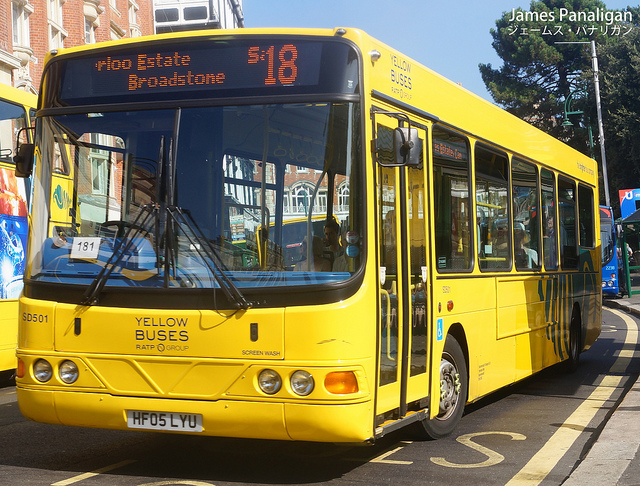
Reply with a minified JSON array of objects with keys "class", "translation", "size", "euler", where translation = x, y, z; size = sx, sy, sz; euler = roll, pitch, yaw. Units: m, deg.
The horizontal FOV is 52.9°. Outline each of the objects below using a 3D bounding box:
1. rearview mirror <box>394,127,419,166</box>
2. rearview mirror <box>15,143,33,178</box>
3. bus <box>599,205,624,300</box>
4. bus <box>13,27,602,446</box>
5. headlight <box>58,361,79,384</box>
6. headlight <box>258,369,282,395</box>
[{"class":"rearview mirror","translation":[0.714,-0.812,5.424],"size":[0.313,0.445,0.048],"euler":[4,-6,-39]},{"class":"rearview mirror","translation":[-2.678,-0.750,5.853],"size":[0.153,0.266,0.145],"euler":[0,-13,-2]},{"class":"bus","translation":[12.932,0.523,28.686],"size":[1.084,4.826,0.950],"euler":[0,2,29]},{"class":"bus","translation":[1.282,0.159,9.757],"size":[3.722,3.560,10.214],"euler":[-1,-3,30]},{"class":"headlight","translation":[-2.121,1.091,5.437],"size":[0.159,0.164,0.090],"euler":[6,-13,-1]},{"class":"headlight","translation":[-0.390,1.067,5.008],"size":[0.178,0.189,0.069],"euler":[-18,7,25]}]
